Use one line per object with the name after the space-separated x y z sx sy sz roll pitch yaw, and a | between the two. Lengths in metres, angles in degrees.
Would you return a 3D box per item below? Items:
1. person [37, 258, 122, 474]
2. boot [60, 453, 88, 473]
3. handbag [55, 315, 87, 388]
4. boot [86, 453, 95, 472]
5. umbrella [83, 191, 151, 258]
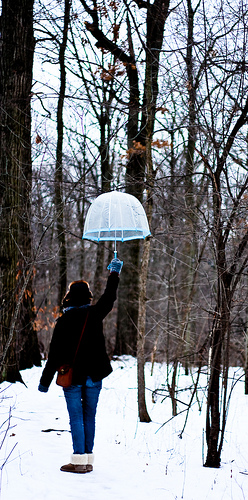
-0.500 1.269 9.061 0.819 2.072 0.576 3 1 -1 | person
-0.508 2.357 8.827 0.342 0.272 0.144 0 -12 18 | boot
-0.587 1.132 8.904 0.302 0.665 0.220 3 1 -3 | handbag
-0.381 2.400 8.985 0.088 0.171 0.149 3 -15 -7 | boot
-0.102 -0.341 9.579 0.634 0.905 0.735 -1 -9 -6 | umbrella
